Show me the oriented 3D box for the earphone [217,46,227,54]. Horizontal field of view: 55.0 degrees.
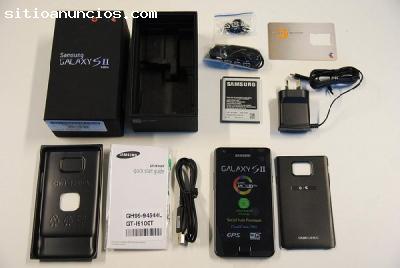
[{"bbox_3d":[0.150,-0.548,2.507,0.039,0.058,0.017,3,-21,0],"label":"earphone"}]
